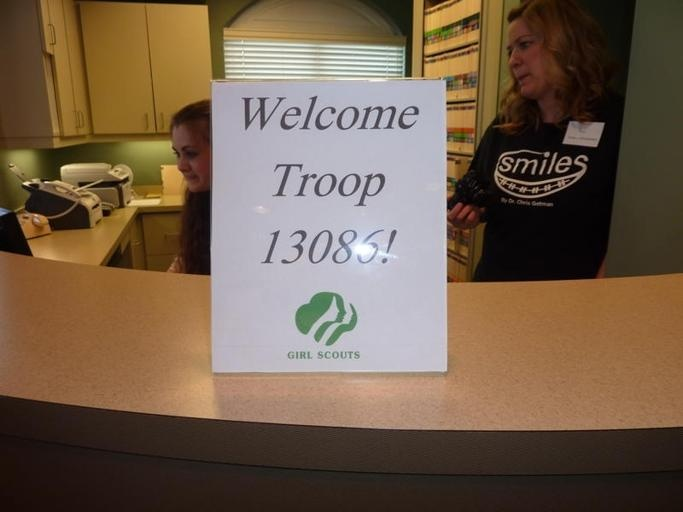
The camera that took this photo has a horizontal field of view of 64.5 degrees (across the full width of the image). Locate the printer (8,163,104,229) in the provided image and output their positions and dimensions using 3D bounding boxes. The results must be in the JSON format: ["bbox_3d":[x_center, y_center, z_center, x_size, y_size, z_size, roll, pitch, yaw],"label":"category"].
[{"bbox_3d":[-1.691,-0.361,3.371,0.507,0.453,0.361,0,24,-15],"label":"printer"}]

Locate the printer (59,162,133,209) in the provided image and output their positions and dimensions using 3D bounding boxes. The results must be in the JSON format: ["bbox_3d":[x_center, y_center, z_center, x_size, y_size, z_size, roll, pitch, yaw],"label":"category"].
[{"bbox_3d":[-1.773,-0.543,3.893,0.379,0.280,0.422,1,13,-2],"label":"printer"}]

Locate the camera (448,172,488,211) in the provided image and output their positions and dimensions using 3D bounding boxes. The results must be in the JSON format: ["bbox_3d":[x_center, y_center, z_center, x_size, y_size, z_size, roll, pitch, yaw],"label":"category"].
[{"bbox_3d":[0.499,-0.302,2.186,0.093,0.142,0.055,-31,37,28],"label":"camera"}]
